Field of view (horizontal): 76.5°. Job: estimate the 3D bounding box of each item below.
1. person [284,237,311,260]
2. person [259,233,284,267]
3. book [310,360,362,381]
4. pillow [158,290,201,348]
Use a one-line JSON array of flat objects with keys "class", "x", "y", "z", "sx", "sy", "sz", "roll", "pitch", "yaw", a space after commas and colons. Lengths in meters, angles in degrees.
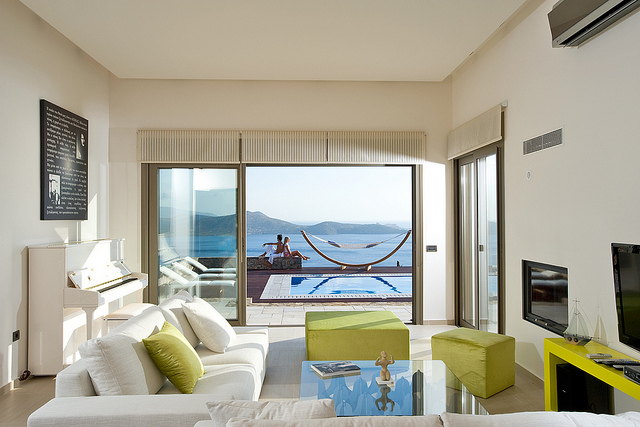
[{"class": "person", "x": -0.790, "y": 1.044, "z": 12.677, "sx": 0.899, "sy": 0.612, "sz": 0.568, "roll": 2, "pitch": -6, "yaw": -12}, {"class": "person", "x": -1.494, "y": 1.079, "z": 12.539, "sx": 0.764, "sy": 0.995, "sz": 0.385, "roll": 5, "pitch": 14, "yaw": 10}, {"class": "book", "x": 0.147, "y": 1.386, "z": 3.602, "sx": 0.450, "sy": 0.067, "sz": 0.258, "roll": 0, "pitch": 0, "yaw": -4}, {"class": "pillow", "x": -1.389, "y": 1.051, "z": 4.043, "sx": 0.329, "sy": 0.430, "sz": 0.532, "roll": 2, "pitch": 4, "yaw": -11}]
